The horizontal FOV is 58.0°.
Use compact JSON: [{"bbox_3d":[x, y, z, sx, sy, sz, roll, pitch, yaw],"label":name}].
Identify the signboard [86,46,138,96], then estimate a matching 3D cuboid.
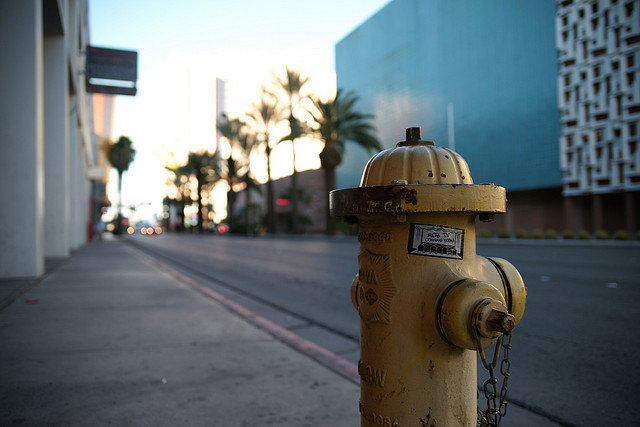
[{"bbox_3d":[-2.883,-1.970,7.984,0.710,0.640,0.352,1,6,-12],"label":"signboard"}]
